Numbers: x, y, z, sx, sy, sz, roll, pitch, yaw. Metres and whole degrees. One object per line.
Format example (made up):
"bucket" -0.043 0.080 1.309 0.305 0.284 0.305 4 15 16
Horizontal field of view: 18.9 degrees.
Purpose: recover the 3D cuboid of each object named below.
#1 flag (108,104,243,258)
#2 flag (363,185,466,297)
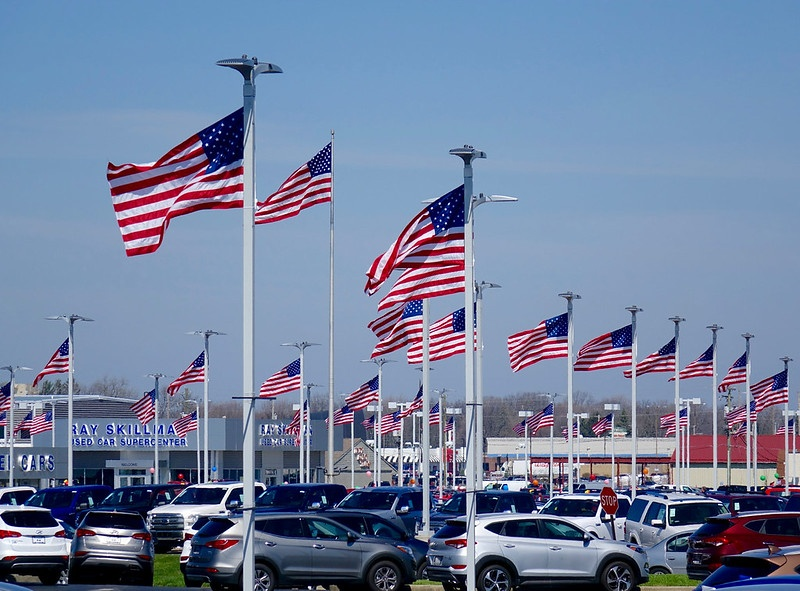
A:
"flag" -8.953 -4.593 97.807 7.239 6.881 0.835 -5 2 10
"flag" 0.997 -1.930 103.307 4.824 4.640 0.775 -1 6 6
